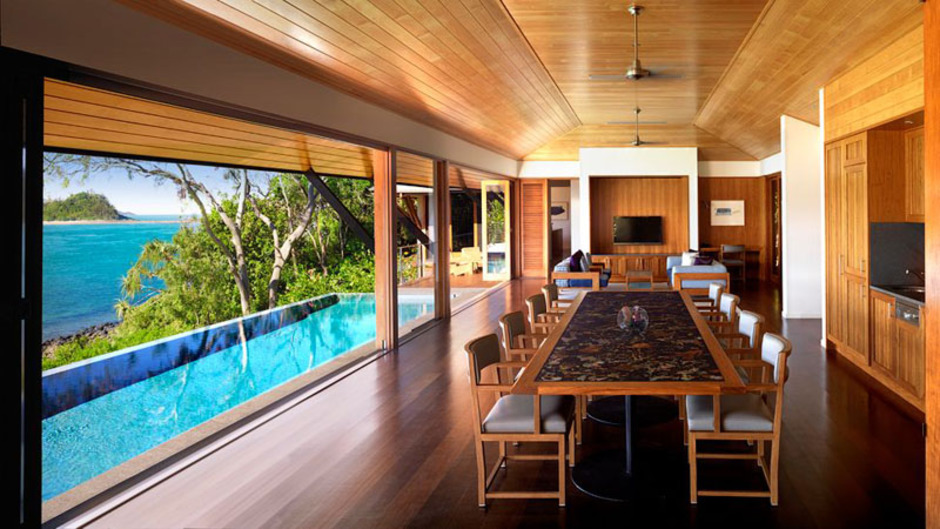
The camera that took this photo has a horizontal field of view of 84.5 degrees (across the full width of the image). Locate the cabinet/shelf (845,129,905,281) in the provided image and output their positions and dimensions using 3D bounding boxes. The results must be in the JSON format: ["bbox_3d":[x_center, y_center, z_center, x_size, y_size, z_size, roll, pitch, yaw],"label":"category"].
[{"bbox_3d":[5.741,-0.855,7.211,0.692,1.969,1.133,3,16,17],"label":"cabinet/shelf"}]
